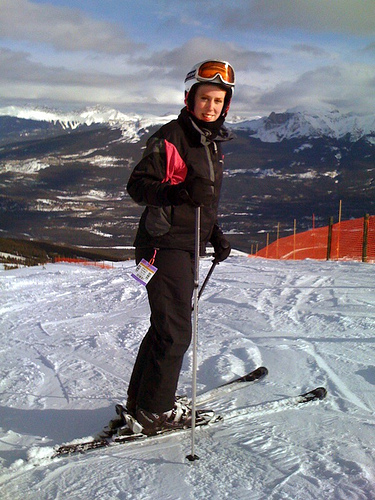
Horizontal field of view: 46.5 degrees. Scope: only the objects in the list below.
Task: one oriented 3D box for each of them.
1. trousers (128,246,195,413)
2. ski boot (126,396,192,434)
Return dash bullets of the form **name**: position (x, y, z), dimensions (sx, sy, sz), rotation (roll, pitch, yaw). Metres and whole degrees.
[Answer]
- **trousers**: position (-0.142, 0.411, 2.530), dimensions (0.359, 0.950, 0.368), rotation (-3, 9, -35)
- **ski boot**: position (-0.161, 0.967, 2.577), dimensions (0.324, 0.118, 0.179), rotation (-3, 19, -32)
